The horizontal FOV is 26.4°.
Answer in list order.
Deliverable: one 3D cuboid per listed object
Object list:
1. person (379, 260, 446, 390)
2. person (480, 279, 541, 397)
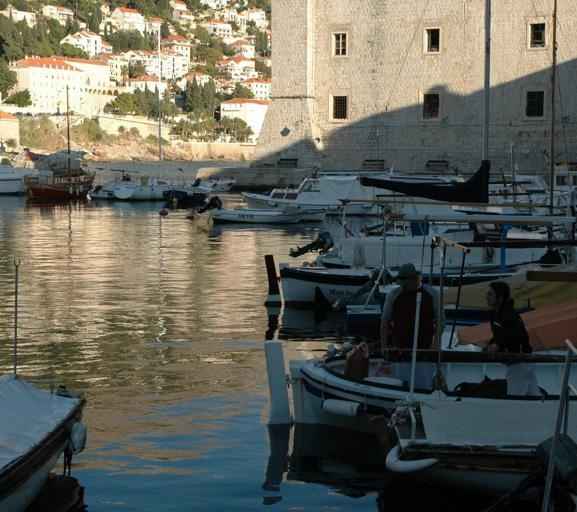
[{"bbox_3d":[1.671,0.947,16.741,0.940,1.690,0.827,0,6,17],"label":"person"},{"bbox_3d":[2.953,1.080,16.196,0.685,1.512,0.531,0,6,10],"label":"person"}]
